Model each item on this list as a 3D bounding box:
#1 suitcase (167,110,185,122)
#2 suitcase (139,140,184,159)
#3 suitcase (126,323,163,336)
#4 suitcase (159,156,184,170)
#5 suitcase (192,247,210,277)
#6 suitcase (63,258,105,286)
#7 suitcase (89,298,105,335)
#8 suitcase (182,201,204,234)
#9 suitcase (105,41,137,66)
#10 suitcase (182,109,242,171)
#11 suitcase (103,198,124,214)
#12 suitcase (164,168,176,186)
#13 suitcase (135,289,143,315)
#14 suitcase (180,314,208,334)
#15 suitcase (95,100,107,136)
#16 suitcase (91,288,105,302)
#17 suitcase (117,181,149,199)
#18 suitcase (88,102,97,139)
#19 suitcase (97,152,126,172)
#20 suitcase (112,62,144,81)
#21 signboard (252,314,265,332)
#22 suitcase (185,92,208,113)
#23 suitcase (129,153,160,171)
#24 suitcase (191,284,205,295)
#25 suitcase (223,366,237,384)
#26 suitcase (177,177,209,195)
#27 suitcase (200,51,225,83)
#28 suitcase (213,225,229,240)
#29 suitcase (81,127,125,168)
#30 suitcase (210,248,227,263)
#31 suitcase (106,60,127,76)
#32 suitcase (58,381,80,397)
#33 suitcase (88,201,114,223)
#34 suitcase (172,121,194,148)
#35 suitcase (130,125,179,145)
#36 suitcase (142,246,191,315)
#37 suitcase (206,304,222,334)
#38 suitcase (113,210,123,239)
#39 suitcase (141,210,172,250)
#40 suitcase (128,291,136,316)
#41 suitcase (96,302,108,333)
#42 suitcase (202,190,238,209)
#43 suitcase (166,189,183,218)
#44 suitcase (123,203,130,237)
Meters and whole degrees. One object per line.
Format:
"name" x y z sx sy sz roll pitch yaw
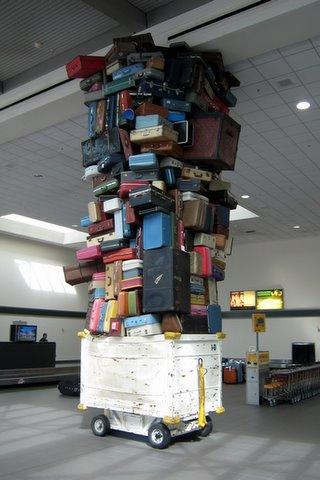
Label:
"suitcase" 0.175 -1.353 4.131 0.236 0.121 0.151 5 5 -9
"suitcase" 0.001 -0.941 3.940 0.253 0.081 0.256 2 0 35
"suitcase" -0.172 0.849 3.570 0.365 0.109 0.110 -10 -15 35
"suitcase" 0.113 -0.815 4.003 0.139 0.087 0.184 7 2 3
"suitcase" 0.458 0.225 4.055 0.184 0.329 0.170 -1 -13 -5
"suitcase" -0.913 0.369 4.534 0.300 0.255 0.895 8 -15 -37
"suitcase" -0.653 0.810 3.946 0.168 0.449 0.325 4 -11 0
"suitcase" 0.347 -0.269 4.036 0.156 0.268 0.281 13 -6 -38
"suitcase" -0.453 -2.137 4.378 0.329 0.250 0.126 -4 -5 14
"suitcase" 0.692 -1.107 4.325 0.407 0.388 0.308 19 25 18
"suitcase" -0.500 -0.368 4.048 0.149 0.166 0.266 5 -8 -41
"suitcase" 0.122 -0.668 4.039 0.174 0.192 0.085 10 -17 -42
"suitcase" -0.204 0.601 3.576 0.078 0.219 0.230 -1 -6 13
"suitcase" 0.344 0.838 3.735 0.079 0.205 0.633 -7 -13 23
"suitcase" -0.694 -1.407 4.395 0.118 0.373 0.288 -1 -7 -3
"suitcase" -0.675 0.585 4.107 0.146 0.092 0.192 3 -4 -15
"suitcase" -0.247 -0.500 3.957 0.352 0.132 0.346 -1 -8 1
"suitcase" -0.807 -1.431 4.529 0.087 0.342 0.266 -2 0 0
"suitcase" -0.548 -0.859 4.162 0.224 0.072 0.232 -17 -9 40
"suitcase" -0.361 -1.888 4.250 0.240 0.063 0.186 -11 13 38
"signboard" 2.182 1.857 8.456 0.206 0.386 0.574 -10 -15 31
"suitcase" 0.422 -1.527 4.328 0.299 0.170 0.478 12 8 7
"suitcase" -0.177 -0.806 3.925 0.293 0.158 0.135 -6 -13 18
"suitcase" 0.407 0.536 4.040 0.065 0.108 0.352 -7 -13 21
"suitcase" 1.995 3.878 10.814 0.394 0.435 0.293 -5 -13 13
"suitcase" 0.330 -0.573 4.082 0.259 0.075 0.198 5 -1 29
"suitcase" 0.657 -2.063 4.530 0.284 0.234 0.438 15 -8 12
"suitcase" 0.760 -0.106 4.633 0.201 0.184 0.144 4 -2 -44
"suitcase" -0.641 -1.054 4.384 0.599 0.311 0.195 -10 -11 36
"suitcase" 0.683 0.185 4.402 0.085 0.145 0.438 -7 -13 23
"suitcase" -0.521 -1.974 4.357 0.171 0.146 0.276 5 18 14
"suitcase" -1.879 3.122 7.917 0.448 0.245 0.168 -1 1 35
"suitcase" -0.710 -0.319 4.448 0.225 0.346 0.398 -5 3 -20
"suitcase" 0.241 -1.130 4.051 0.318 0.298 0.116 10 12 35
"suitcase" -0.068 -1.082 3.921 0.502 0.172 0.277 -2 -12 2
"suitcase" 0.085 0.409 3.591 0.488 0.624 0.475 7 -18 -20
"suitcase" 0.586 0.855 4.083 0.065 0.263 0.275 -4 -4 19
"suitcase" -0.438 -0.159 3.960 0.106 0.272 0.284 -1 -6 3
"suitcase" -0.024 -0.096 3.576 0.314 0.364 0.208 -9 -16 35
"suitcase" -0.265 0.615 3.602 0.081 0.233 0.242 -1 -3 7
"suitcase" -0.602 0.803 3.891 0.072 0.252 0.189 12 -13 -11
"suitcase" 0.826 -0.541 4.729 0.253 0.103 0.349 5 -4 35
"suitcase" 0.148 -0.356 3.820 0.184 0.315 0.335 -1 0 17
"suitcase" -0.343 -0.207 3.858 0.068 0.339 0.123 -1 -13 -5
